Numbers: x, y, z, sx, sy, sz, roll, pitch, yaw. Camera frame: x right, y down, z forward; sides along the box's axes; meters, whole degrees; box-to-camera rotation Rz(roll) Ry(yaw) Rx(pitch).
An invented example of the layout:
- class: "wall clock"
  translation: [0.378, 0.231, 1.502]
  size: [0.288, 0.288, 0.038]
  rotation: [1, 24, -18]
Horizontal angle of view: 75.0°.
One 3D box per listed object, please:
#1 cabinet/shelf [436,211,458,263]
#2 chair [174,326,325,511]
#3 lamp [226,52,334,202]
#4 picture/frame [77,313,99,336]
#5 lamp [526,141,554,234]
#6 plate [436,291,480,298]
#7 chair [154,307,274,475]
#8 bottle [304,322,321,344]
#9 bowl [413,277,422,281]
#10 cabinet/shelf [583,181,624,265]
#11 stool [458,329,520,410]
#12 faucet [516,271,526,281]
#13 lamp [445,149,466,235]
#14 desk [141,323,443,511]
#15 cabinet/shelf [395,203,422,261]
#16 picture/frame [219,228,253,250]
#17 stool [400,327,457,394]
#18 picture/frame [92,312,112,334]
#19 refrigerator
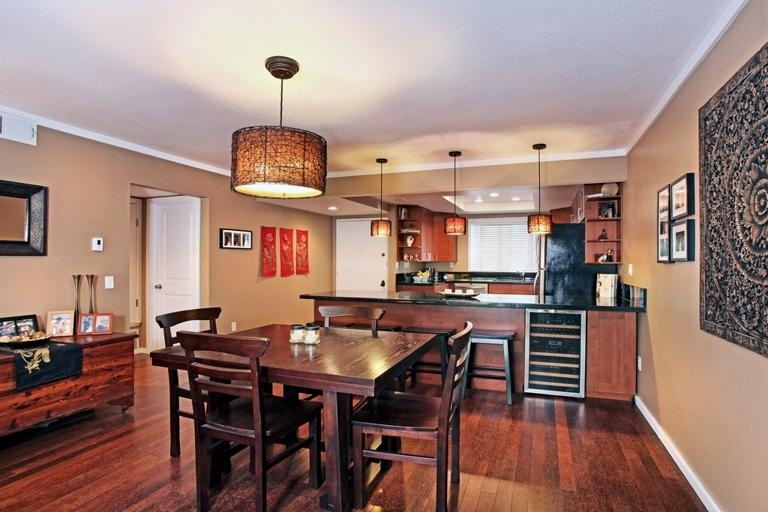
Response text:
- class: "cabinet/shelf"
  translation: [1.177, -0.361, 9.899]
  size: [0.422, 0.888, 0.321]
  rotation: [1, 10, 14]
- class: "chair"
  translation: [-0.912, 1.123, 3.510]
  size: [0.919, 1.206, 0.610]
  rotation: [-4, -1, -8]
- class: "lamp"
  translation: [-0.779, -0.993, 3.743]
  size: [0.678, 0.798, 0.607]
  rotation: [4, 12, 0]
- class: "picture/frame"
  translation: [-2.952, 0.676, 4.975]
  size: [0.215, 0.249, 0.027]
  rotation: [3, -14, -30]
- class: "lamp"
  translation: [1.838, -0.838, 5.916]
  size: [0.286, 1.033, 0.257]
  rotation: [-1, 7, 6]
- class: "plate"
  translation: [0.890, 0.440, 5.906]
  size: [0.455, 0.089, 0.408]
  rotation: [-4, -1, 7]
- class: "chair"
  translation: [-1.621, 1.086, 4.365]
  size: [0.743, 1.082, 0.632]
  rotation: [-5, -22, -22]
- class: "bottle"
  translation: [-0.542, 0.616, 4.013]
  size: [0.148, 0.144, 0.139]
  rotation: [-2, -7, 12]
- class: "bowl"
  translation: [0.612, 0.402, 9.296]
  size: [0.166, 0.108, 0.114]
  rotation: [-5, -1, 29]
- class: "cabinet/shelf"
  translation: [2.665, -0.383, 6.090]
  size: [0.468, 0.869, 0.301]
  rotation: [7, 22, 29]
- class: "stool"
  translation: [1.173, 1.149, 5.340]
  size: [0.718, 0.910, 0.718]
  rotation: [2, 3, 23]
- class: "faucet"
  translation: [2.561, 0.350, 9.286]
  size: [0.148, 0.199, 0.530]
  rotation: [-5, -2, 15]
- class: "lamp"
  translation: [0.898, -0.822, 6.344]
  size: [0.344, 1.011, 0.265]
  rotation: [4, 12, 34]
- class: "desk"
  translation: [-0.310, 1.033, 3.991]
  size: [1.633, 0.885, 1.556]
  rotation: [-1, -6, 17]
- class: "cabinet/shelf"
  translation: [0.450, -0.435, 9.005]
  size: [0.456, 0.992, 0.363]
  rotation: [-5, 0, 7]
- class: "picture/frame"
  translation: [-2.084, -0.250, 7.052]
  size: [0.070, 0.294, 0.636]
  rotation: [-5, -2, 24]
- class: "stool"
  translation: [0.506, 1.107, 5.559]
  size: [0.633, 0.610, 0.589]
  rotation: [10, -8, -21]
- class: "picture/frame"
  translation: [-2.835, 0.667, 5.017]
  size: [0.233, 0.267, 0.028]
  rotation: [0, -8, -16]
- class: "refrigerator"
  translation: [2.720, 0.052, 7.290]
  size: [0.997, 1.701, 1.006]
  rotation: [-1, -2, 16]
